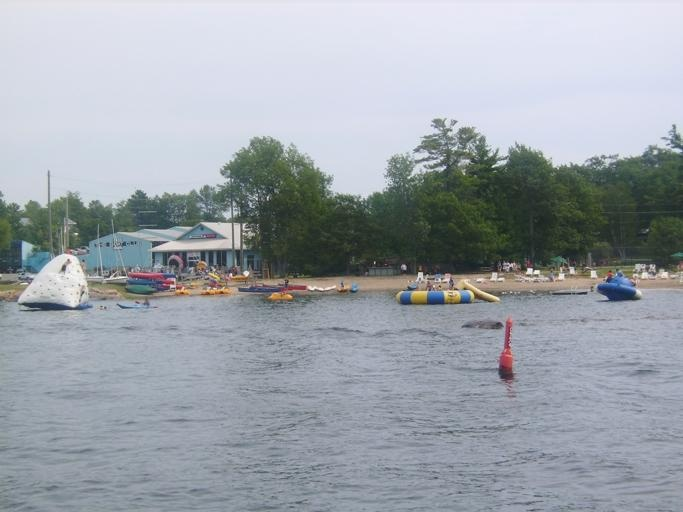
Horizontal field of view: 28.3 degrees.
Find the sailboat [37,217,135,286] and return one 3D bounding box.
[{"bbox_3d":[-31.026,-0.484,171.935,6.816,8.891,10.717,0,-1,-5],"label":"sailboat"}]

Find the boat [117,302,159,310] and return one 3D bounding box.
[{"bbox_3d":[-17.393,4.250,115.460,3.334,0.697,0.471,3,-2,-19],"label":"boat"}]

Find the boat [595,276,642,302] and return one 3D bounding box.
[{"bbox_3d":[23.548,2.722,114.227,2.230,1.554,2.946,0,-5,27],"label":"boat"}]

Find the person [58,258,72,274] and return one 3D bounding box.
[{"bbox_3d":[-22.018,0.682,107.903,0.763,1.017,1.020,0,-4,-21],"label":"person"}]
